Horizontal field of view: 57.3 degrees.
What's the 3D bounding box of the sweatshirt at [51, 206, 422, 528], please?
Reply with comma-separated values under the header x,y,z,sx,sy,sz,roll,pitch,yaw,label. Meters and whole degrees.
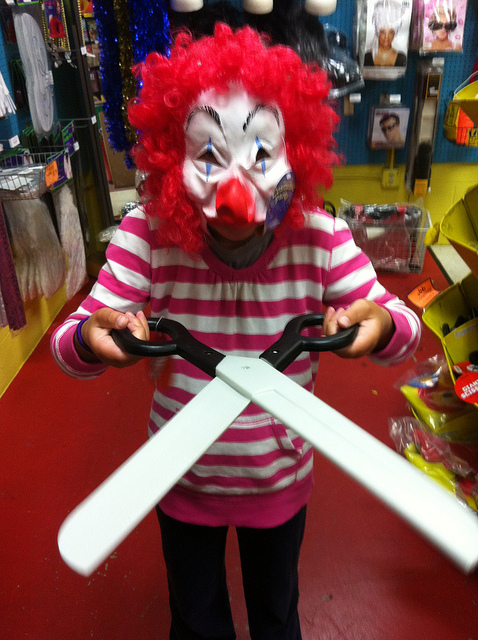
x,y,z,sx,sy,sz,roll,pitch,yaw,label
-0.031,0.086,0.924,0.487,0.625,0.590,-1,32,-10,sweatshirt
